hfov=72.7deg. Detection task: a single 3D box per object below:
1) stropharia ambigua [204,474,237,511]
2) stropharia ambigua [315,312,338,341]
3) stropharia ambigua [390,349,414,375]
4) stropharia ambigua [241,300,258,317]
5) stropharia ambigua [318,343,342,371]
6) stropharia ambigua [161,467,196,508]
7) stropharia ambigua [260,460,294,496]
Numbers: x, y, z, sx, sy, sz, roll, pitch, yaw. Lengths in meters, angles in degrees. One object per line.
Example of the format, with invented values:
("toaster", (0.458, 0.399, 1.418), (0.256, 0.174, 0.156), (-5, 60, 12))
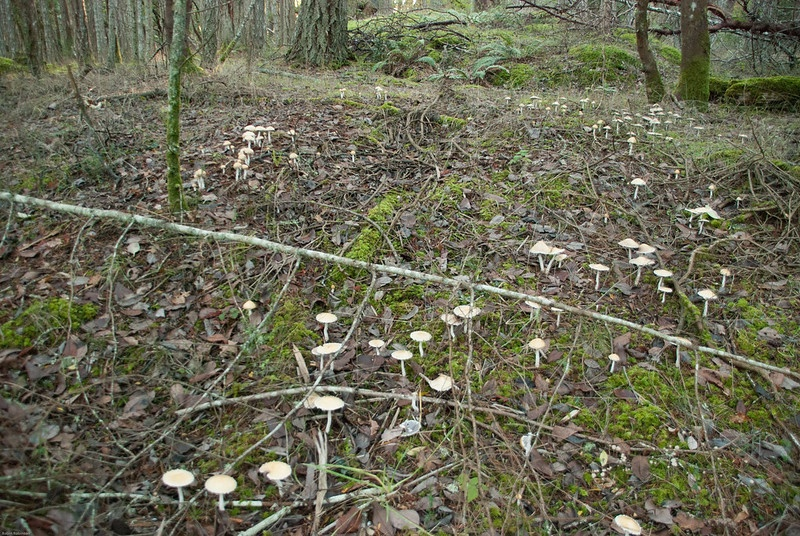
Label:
("stropharia ambigua", (-1.993, 2.582, 6.053), (0.261, 0.242, 0.271), (-3, 33, -18))
("stropharia ambigua", (-0.989, 0.795, 7.260), (0.242, 0.268, 0.237), (-17, 40, -38))
("stropharia ambigua", (0.041, 1.225, 7.031), (0.316, 0.333, 0.291), (-1, 31, 0))
("stropharia ambigua", (-2.045, 0.560, 7.313), (0.210, 0.212, 0.202), (7, 28, -23))
("stropharia ambigua", (-0.899, 1.101, 6.968), (0.282, 0.341, 0.426), (-6, 25, -13))
("stropharia ambigua", (-2.554, 2.495, 6.226), (0.353, 0.355, 0.325), (-8, 26, -17))
("stropharia ambigua", (-1.441, 2.420, 6.295), (0.363, 0.362, 0.262), (-7, 26, -14))
